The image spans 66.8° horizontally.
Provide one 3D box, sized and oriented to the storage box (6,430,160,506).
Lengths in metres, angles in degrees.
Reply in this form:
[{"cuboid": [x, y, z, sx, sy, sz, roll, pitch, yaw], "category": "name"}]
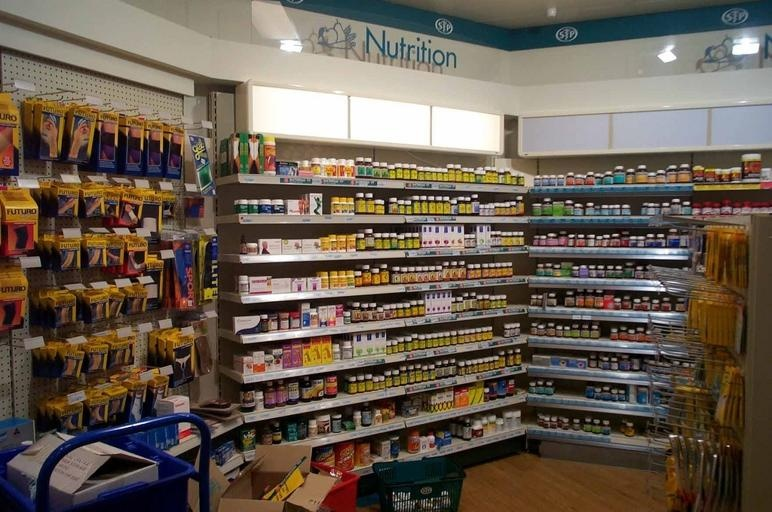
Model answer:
[{"cuboid": [-1.622, 0.966, 3.192, 0.607, 0.294, 0.439, 8, 11, 37], "category": "storage box"}]
